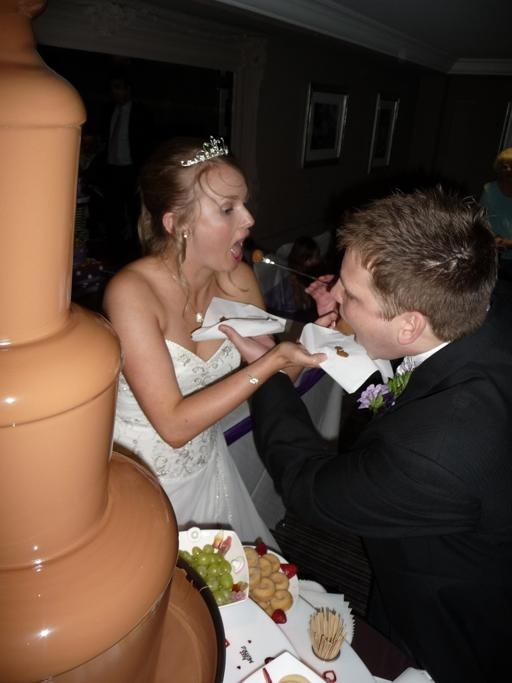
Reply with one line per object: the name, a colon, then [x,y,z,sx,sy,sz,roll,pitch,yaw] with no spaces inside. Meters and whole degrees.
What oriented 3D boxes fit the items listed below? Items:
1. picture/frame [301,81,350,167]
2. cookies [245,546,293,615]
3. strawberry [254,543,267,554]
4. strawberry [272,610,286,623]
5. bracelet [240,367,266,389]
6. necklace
picture/frame: [0.594,-1.919,4.590,0.042,0.607,0.893,20,13,27]
cookies: [0.032,0.547,1.204,0.122,0.046,0.116,6,47,1]
strawberry: [0.006,0.507,1.300,0.028,0.026,0.015,8,-2,1]
strawberry: [0.052,0.599,1.148,0.032,0.018,0.031,0,55,-2]
bracelet: [-0.006,0.092,1.382,0.060,0.061,0.016,42,-1,-11]
necklace: [-0.231,-0.169,1.703,0.074,0.194,0.146,13,34,38]
